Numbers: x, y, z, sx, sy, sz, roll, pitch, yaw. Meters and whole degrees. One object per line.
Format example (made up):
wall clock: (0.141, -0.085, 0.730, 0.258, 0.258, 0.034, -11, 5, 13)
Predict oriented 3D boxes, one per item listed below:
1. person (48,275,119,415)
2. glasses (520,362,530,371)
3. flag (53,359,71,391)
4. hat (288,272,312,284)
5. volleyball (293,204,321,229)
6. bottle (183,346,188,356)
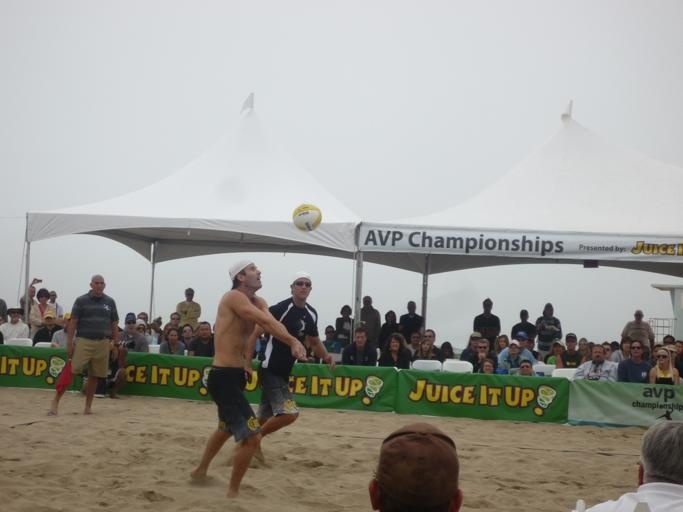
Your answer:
person: (-3.786, 1.322, 11.701, 0.738, 2.053, 0.500, 6, -9, -22)
glasses: (3.165, 1.861, 13.186, 0.111, 0.121, 0.150, -4, -22, 8)
flag: (-4.158, 1.780, 11.582, 0.183, 0.470, 0.347, 5, -9, -19)
hat: (-0.404, 0.228, 7.901, 0.207, 0.141, 0.218, 1, -16, -2)
volleyball: (-0.589, -0.713, 13.596, 0.420, 0.439, 0.477, -3, 19, -23)
bottle: (-2.879, 1.750, 14.220, 0.096, 0.137, 0.107, 3, -8, -15)
